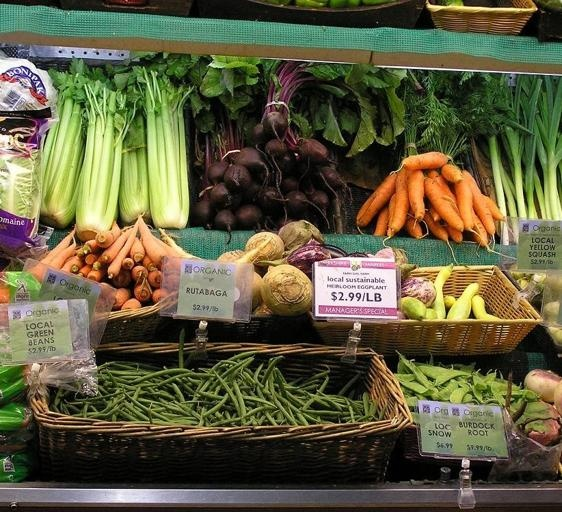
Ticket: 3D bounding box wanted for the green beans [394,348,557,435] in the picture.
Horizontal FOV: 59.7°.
[{"bbox_3d":[0.691,0.485,1.786,0.382,0.080,0.248,9,11,-6],"label":"green beans"}]
